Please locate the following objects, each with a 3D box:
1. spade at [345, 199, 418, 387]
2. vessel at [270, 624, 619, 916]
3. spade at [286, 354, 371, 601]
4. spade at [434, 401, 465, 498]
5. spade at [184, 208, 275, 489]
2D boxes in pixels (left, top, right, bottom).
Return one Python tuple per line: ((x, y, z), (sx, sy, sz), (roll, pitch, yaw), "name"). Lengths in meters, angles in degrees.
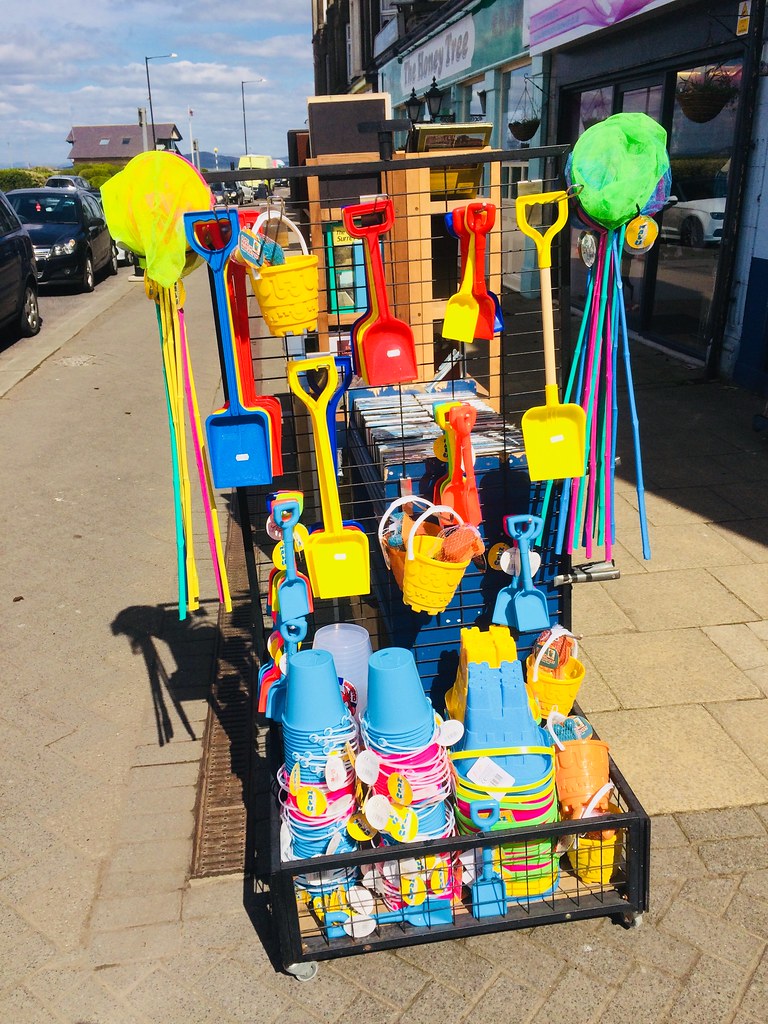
((-0.012, -0.587, 2.457), (0.208, 0.540, 0.101), (-9, 10, -13), "spade")
((0.117, 0.795, 2.353), (0.872, 0.513, 0.829), (-2, 17, -7), "vessel")
((-0.161, -0.075, 2.516), (0.079, 0.726, 0.230), (-18, 12, -35), "spade")
((0.202, -0.168, 2.589), (0.109, 0.326, 0.072), (0, 27, 8), "spade")
((-0.428, -0.427, 2.385), (0.181, 0.775, 0.187), (-7, 22, -11), "spade")
